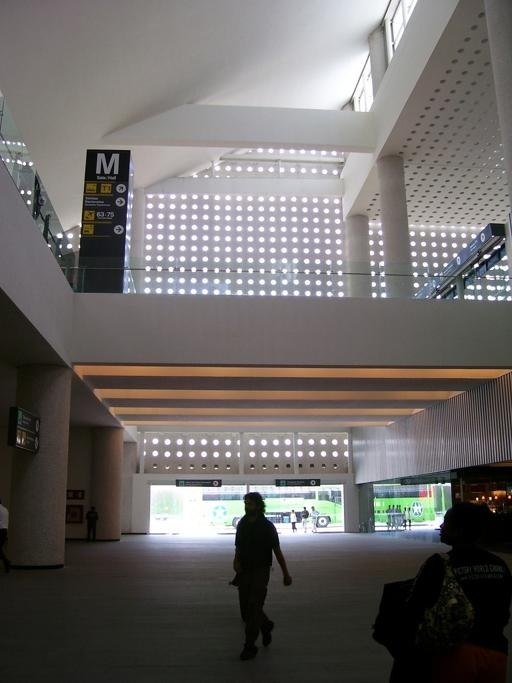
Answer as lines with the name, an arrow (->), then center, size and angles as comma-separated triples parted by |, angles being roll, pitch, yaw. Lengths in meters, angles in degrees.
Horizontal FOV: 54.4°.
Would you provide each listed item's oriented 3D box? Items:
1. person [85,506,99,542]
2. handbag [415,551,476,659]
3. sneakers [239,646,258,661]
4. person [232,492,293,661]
person -> -6.819, 7.589, 20.743 | 0.431, 1.379, 0.858 | 3, -13, -18
handbag -> 0.627, 0.846, 1.697 | 0.187, 0.417, 0.221 | -3, -10, 33
sneakers -> -0.053, 2.394, 3.839 | 0.110, 0.138, 0.078 | 4, -16, -14
person -> 0.037, 2.023, 4.366 | 0.505, 1.349, 1.104 | -1, -13, 0
